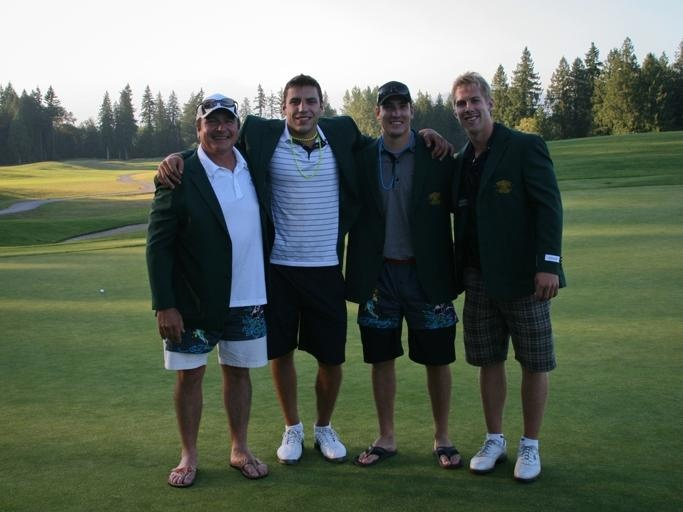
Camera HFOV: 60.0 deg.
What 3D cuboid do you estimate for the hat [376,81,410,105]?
[{"bbox_3d":[0.413,-1.296,4.727,0.280,0.175,0.183,0,8,13],"label":"hat"}]

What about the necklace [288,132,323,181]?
[{"bbox_3d":[-0.284,-0.811,4.869,0.296,0.367,0.168,-3,7,-5],"label":"necklace"}]

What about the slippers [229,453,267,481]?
[{"bbox_3d":[-0.649,1.532,4.279,0.122,0.089,0.231,-20,9,-41],"label":"slippers"}]

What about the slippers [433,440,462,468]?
[{"bbox_3d":[0.802,1.491,4.400,0.209,0.125,0.194,-1,8,6],"label":"slippers"}]

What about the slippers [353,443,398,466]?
[{"bbox_3d":[0.240,1.497,4.464,0.255,0.088,0.136,-3,1,-24],"label":"slippers"}]

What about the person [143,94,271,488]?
[{"bbox_3d":[-0.973,0.178,4.426,0.877,2.749,0.816,-4,8,-18],"label":"person"}]

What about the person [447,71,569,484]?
[{"bbox_3d":[1.200,0.076,4.444,0.851,2.949,0.885,2,8,26],"label":"person"}]

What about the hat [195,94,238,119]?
[{"bbox_3d":[-0.943,-1.126,4.485,0.312,0.184,0.207,-3,8,-11],"label":"hat"}]

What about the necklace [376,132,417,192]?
[{"bbox_3d":[0.449,-0.729,4.869,0.217,0.286,0.160,-8,-14,14],"label":"necklace"}]

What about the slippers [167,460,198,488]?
[{"bbox_3d":[-1.074,1.537,4.161,0.161,0.110,0.265,3,9,34],"label":"slippers"}]
